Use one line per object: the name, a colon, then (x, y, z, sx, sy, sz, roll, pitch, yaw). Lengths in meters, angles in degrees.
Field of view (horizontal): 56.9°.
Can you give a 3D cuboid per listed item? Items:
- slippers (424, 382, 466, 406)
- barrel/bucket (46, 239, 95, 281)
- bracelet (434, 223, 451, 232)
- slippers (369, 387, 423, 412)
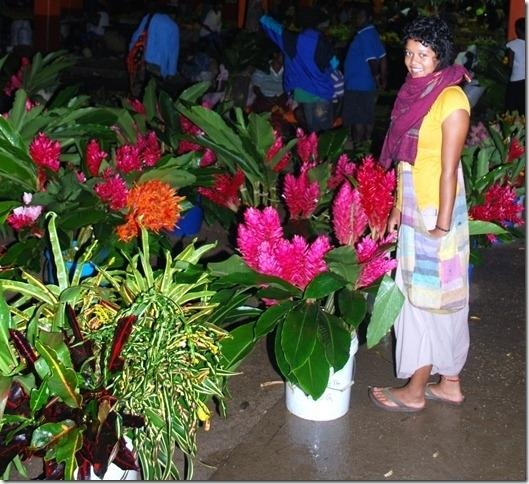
slippers: (0.767, 0.652, 2.087, 0.079, 0.061, 0.163, -18, 29, -31)
barrel/bucket: (-0.658, 0.060, 1.687, 0.121, 0.099, 0.132, 5, 21, -2)
bracelet: (0.630, -0.044, 1.724, 0.035, 0.011, 0.028, 21, -8, 2)
slippers: (0.542, 0.658, 2.027, 0.165, 0.053, 0.096, 12, 40, 18)
